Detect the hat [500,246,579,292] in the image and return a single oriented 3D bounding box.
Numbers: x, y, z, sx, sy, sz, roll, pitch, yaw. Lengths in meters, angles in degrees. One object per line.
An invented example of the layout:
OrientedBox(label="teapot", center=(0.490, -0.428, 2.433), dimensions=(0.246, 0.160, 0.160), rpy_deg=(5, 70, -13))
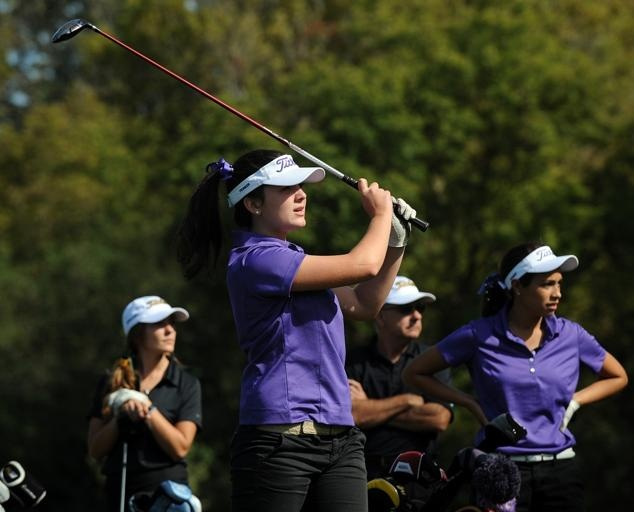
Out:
OrientedBox(label="hat", center=(2.585, 0.119, 15.731), dimensions=(0.754, 0.263, 0.465), rpy_deg=(-26, -10, 25))

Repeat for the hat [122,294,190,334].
OrientedBox(label="hat", center=(-2.004, 0.719, 16.048), dimensions=(0.622, 0.292, 0.477), rpy_deg=(-18, -5, 20))

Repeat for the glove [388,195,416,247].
OrientedBox(label="glove", center=(0.924, -0.355, 14.792), dimensions=(0.381, 0.484, 0.194), rpy_deg=(6, 0, -43))

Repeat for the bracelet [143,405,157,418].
OrientedBox(label="bracelet", center=(-1.937, 1.799, 15.546), dimensions=(0.110, 0.126, 0.100), rpy_deg=(31, 10, 12))
